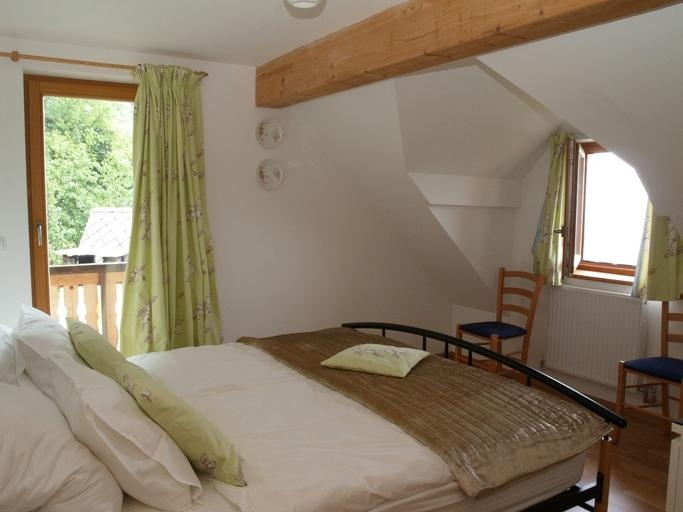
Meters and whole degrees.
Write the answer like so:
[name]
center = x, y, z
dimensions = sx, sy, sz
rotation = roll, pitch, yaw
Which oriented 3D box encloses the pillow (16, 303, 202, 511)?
[pillow]
center = -1.022, 0.649, 2.207
dimensions = 1.022, 0.570, 0.360
rotation = 5, 6, 42
